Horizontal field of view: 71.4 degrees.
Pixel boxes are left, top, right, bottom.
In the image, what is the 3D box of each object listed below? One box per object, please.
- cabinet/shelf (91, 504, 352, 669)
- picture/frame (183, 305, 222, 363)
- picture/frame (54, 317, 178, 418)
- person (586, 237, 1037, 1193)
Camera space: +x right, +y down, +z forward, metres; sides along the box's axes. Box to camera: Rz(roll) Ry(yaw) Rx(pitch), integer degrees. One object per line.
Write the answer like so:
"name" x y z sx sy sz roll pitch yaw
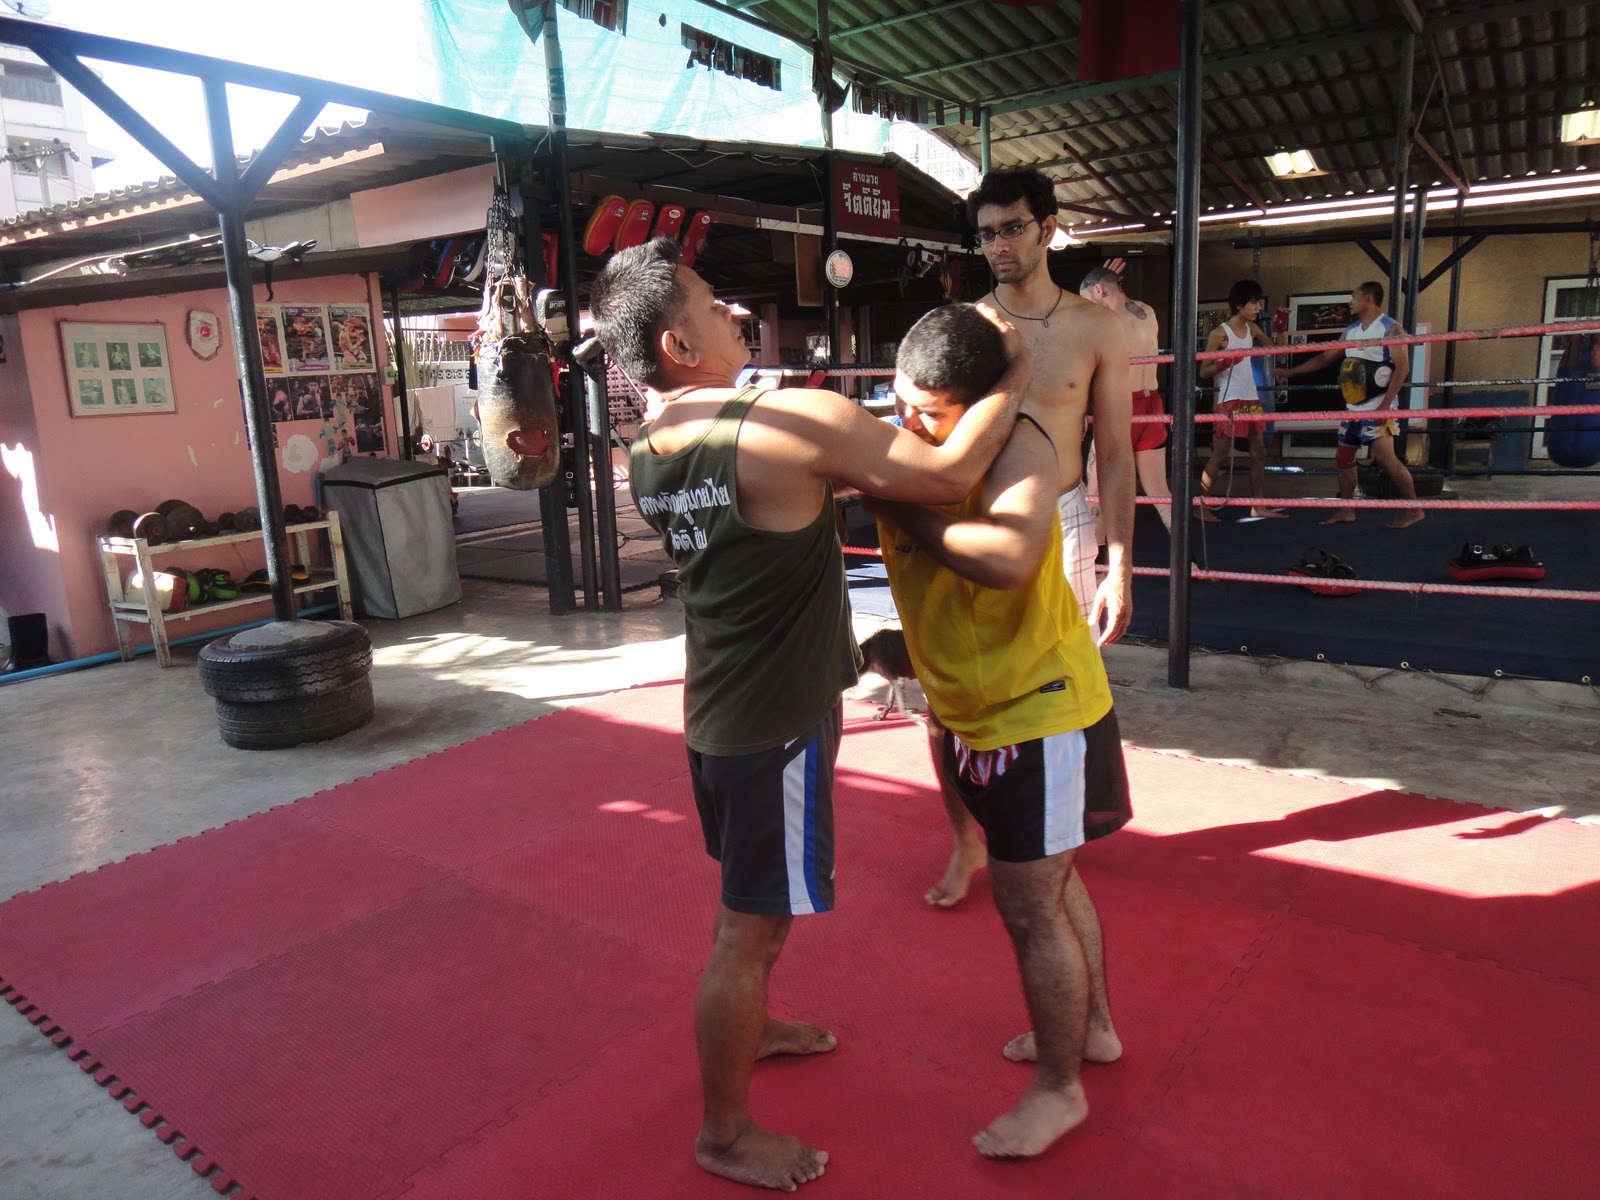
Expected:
"cabinet/shelf" -3.704 -0.198 7.241 1.420 0.884 0.920 -13 16 -40
"picture/frame" -4.022 -1.797 7.410 0.077 0.406 0.317 2 19 24
"picture/frame" -4.343 -1.475 6.961 0.062 0.598 0.647 2 11 35
"person" -0.018 0.257 2.671 0.735 2.211 0.536 -7 13 -18
